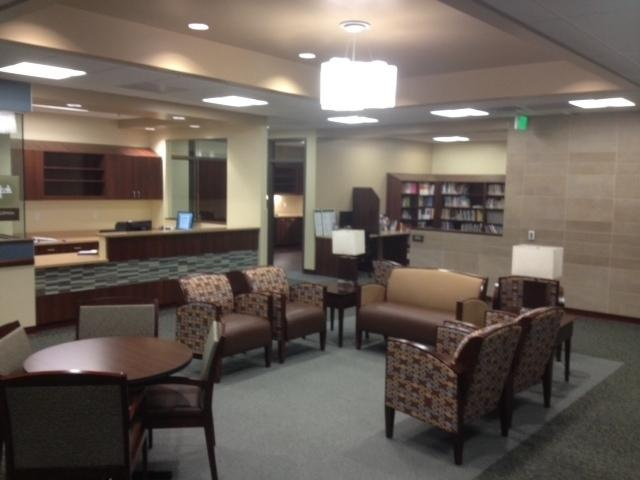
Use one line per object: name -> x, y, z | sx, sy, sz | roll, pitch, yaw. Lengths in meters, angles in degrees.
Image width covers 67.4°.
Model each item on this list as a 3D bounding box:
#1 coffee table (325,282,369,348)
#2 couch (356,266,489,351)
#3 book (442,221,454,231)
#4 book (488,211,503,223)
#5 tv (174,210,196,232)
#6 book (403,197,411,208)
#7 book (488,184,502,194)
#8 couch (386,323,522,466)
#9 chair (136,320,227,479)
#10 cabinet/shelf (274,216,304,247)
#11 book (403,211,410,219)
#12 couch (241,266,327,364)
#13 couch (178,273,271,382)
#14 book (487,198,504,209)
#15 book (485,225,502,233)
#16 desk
coffee table -> 0.295, 1.027, 6.963 | 0.664, 0.748, 0.755 | 3, 6, 36
couch -> 1.313, 0.956, 6.333 | 0.906, 1.130, 1.635 | -1, 3, -44
book -> 3.542, -0.394, 13.341 | 0.298, 0.300, 0.156 | 6, -11, -31
book -> 4.676, -0.597, 12.998 | 0.438, 0.448, 0.128 | 7, 10, 32
tv -> -2.734, -0.371, 9.746 | 0.618, 0.469, 0.435 | 6, 6, 32
book -> 2.330, -1.023, 13.063 | 0.144, 0.277, 0.281 | 0, 1, 37
book -> 4.706, -1.343, 12.952 | 0.401, 0.306, 0.130 | 5, 9, 23
couch -> 1.094, 1.270, 4.537 | 1.000, 1.438, 1.178 | -3, 6, -44
chair -> -1.079, 1.191, 4.279 | 0.931, 1.562, 1.060 | 2, -1, -9
cabinet/shelf -> -1.014, -0.268, 15.999 | 0.428, 0.997, 1.327 | 9, 11, 42
book -> 2.310, -0.673, 13.047 | 0.067, 0.203, 0.209 | -4, -3, 39
couch -> -0.351, 0.925, 6.777 | 1.054, 1.566, 1.086 | 0, 3, 42
couch -> -1.131, 0.880, 5.988 | 0.982, 1.437, 1.227 | -1, 1, 38
book -> 4.674, -0.978, 12.932 | 0.443, 0.299, 0.173 | 6, 10, 28
book -> 4.611, -0.306, 12.911 | 0.432, 0.202, 0.186 | 6, 10, 28
desk -> 1.140, -0.092, 11.665 | 2.255, 2.248, 0.883 | -4, 8, -25
